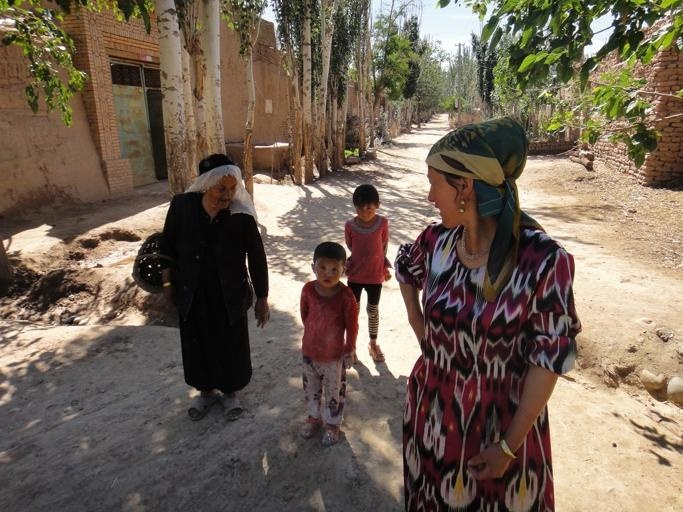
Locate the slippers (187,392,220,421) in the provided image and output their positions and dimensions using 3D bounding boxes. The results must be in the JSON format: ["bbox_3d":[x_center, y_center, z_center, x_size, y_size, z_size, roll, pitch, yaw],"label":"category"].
[{"bbox_3d":[-1.147,1.230,3.600,0.107,0.120,0.279,8,11,11],"label":"slippers"}]

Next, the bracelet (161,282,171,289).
[{"bbox_3d":[-1.411,0.238,3.505,0.048,0.037,0.048,10,-22,-36],"label":"bracelet"}]

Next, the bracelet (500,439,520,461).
[{"bbox_3d":[0.727,0.861,1.932,0.085,0.022,0.068,32,38,-6],"label":"bracelet"}]

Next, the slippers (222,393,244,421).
[{"bbox_3d":[-0.895,1.249,3.573,0.109,0.107,0.229,-5,16,-20],"label":"slippers"}]

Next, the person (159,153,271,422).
[{"bbox_3d":[-0.999,0.154,3.481,0.779,1.863,0.502,-9,20,-23],"label":"person"}]

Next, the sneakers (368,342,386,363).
[{"bbox_3d":[0.365,1.011,4.537,0.096,0.108,0.265,-2,5,-6],"label":"sneakers"}]

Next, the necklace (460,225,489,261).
[{"bbox_3d":[0.612,-0.065,2.104,0.100,0.129,0.034,9,45,32],"label":"necklace"}]

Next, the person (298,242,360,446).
[{"bbox_3d":[-0.106,0.656,3.358,0.445,1.531,0.508,-1,18,-1],"label":"person"}]

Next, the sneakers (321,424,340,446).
[{"bbox_3d":[-0.090,1.392,3.401,0.090,0.074,0.173,0,7,3],"label":"sneakers"}]
